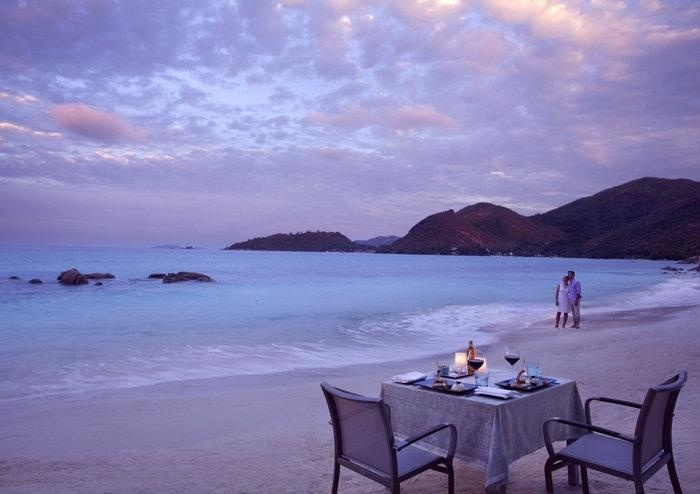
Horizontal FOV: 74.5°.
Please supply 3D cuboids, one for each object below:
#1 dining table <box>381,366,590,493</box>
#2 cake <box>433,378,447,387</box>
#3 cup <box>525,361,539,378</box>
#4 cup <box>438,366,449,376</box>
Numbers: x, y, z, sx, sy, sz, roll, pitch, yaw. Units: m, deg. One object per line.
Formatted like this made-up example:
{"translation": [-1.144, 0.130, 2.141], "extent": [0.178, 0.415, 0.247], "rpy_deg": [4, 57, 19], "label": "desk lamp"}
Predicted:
{"translation": [1.755, 1.825, 5.302], "extent": [1.648, 0.635, 1.596], "rpy_deg": [9, -12, -43], "label": "dining table"}
{"translation": [1.021, 1.538, 5.203], "extent": [0.098, 0.032, 0.093], "rpy_deg": [-2, 10, 22], "label": "cake"}
{"translation": [2.150, 1.424, 5.369], "extent": [0.170, 0.156, 0.159], "rpy_deg": [-2, -8, 0], "label": "cup"}
{"translation": [1.132, 1.498, 5.555], "extent": [0.124, 0.071, 0.112], "rpy_deg": [-7, -8, 36], "label": "cup"}
